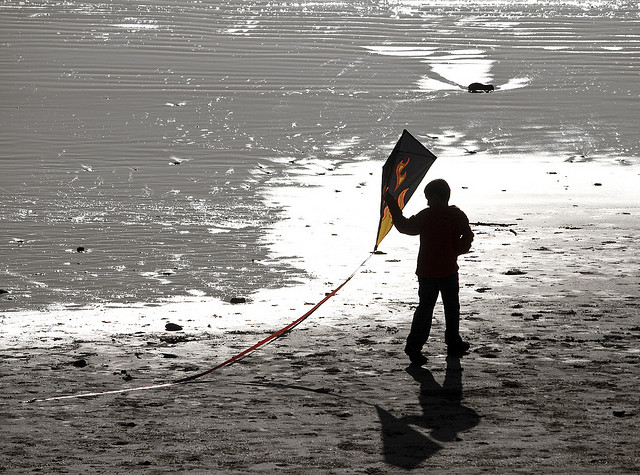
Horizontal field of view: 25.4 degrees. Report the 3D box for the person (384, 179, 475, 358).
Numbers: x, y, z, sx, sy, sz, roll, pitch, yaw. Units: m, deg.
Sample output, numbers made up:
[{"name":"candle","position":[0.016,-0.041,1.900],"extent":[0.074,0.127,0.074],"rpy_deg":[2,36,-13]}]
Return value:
[{"name":"person","position":[1.594,0.536,20.012],"extent":[1.154,2.180,0.887],"rpy_deg":[-3,15,-4]}]
